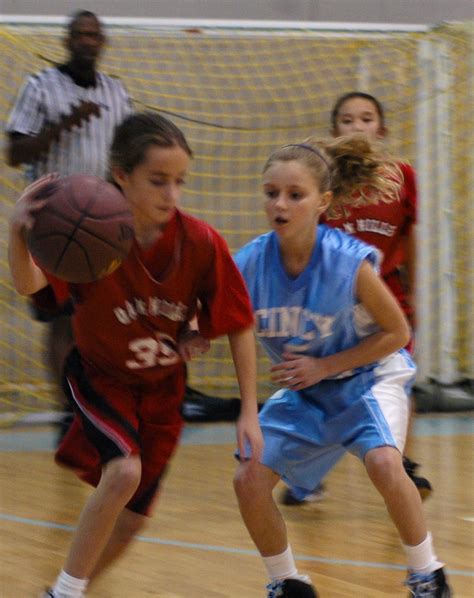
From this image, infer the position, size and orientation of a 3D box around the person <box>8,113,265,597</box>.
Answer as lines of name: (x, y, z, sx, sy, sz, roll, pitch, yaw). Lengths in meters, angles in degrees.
person: (-0.211, 0.120, 1.412, 0.551, 1.039, 0.270, -8, 12, -33)

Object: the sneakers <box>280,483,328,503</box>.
sneakers: (0.220, 0.668, 2.250, 0.174, 0.057, 0.191, 1, -2, 8)

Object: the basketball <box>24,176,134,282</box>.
basketball: (-0.312, -0.146, 1.327, 0.232, 0.199, 0.191, 20, -2, -14)
